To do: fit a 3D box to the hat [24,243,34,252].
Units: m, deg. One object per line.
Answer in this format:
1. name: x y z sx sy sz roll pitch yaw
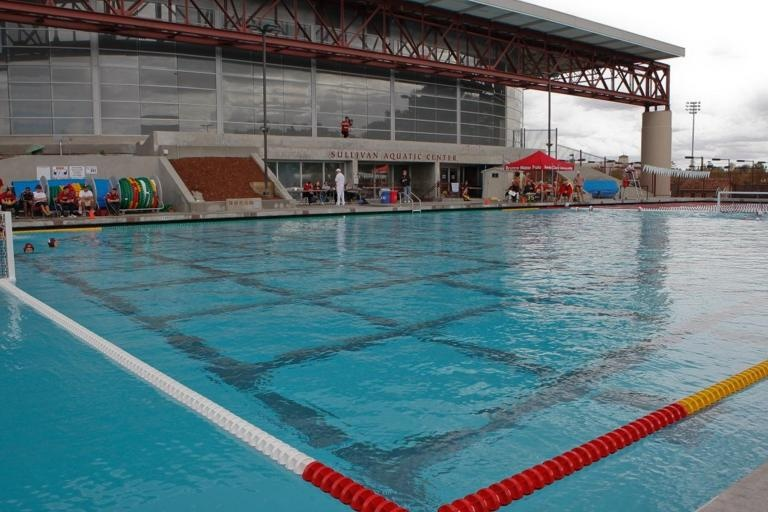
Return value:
1. hat: -9.656 -0.186 15.175 0.292 0.161 0.419 4 6 -27
